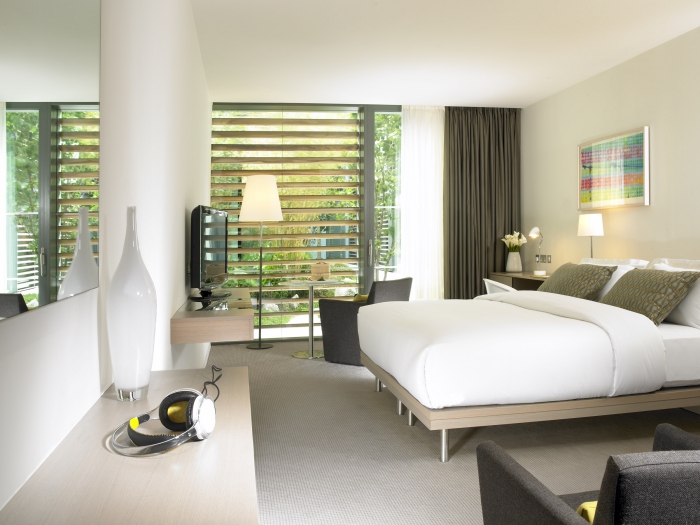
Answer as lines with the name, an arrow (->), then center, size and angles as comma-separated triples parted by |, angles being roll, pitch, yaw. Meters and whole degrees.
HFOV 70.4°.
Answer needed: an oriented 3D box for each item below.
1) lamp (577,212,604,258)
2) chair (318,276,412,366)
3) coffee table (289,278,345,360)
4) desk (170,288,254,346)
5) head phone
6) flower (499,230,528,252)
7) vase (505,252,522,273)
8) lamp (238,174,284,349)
lamp -> 2.516, -0.285, 5.173 | 0.232, 0.479, 0.501 | 2, 5, 27
chair -> 0.314, 0.595, 4.868 | 0.903, 1.066, 0.820 | 6, -9, -34
coffee table -> -0.407, 0.628, 5.536 | 0.724, 0.813, 0.743 | 0, -5, 5
desk -> -0.942, 0.476, 3.487 | 0.525, 0.299, 0.683 | -1, 4, -11
head phone -> -0.594, 0.513, 1.561 | 0.295, 0.121, 0.318 | -6, 8, 14
flower -> 2.130, -0.302, 6.450 | 0.289, 0.207, 0.289 | 5, 10, 32
vase -> 2.071, 0.001, 6.396 | 0.224, 0.234, 0.247 | 1, -6, 1
lamp -> -0.999, 0.021, 5.615 | 0.423, 1.952, 0.893 | -1, 5, -10
